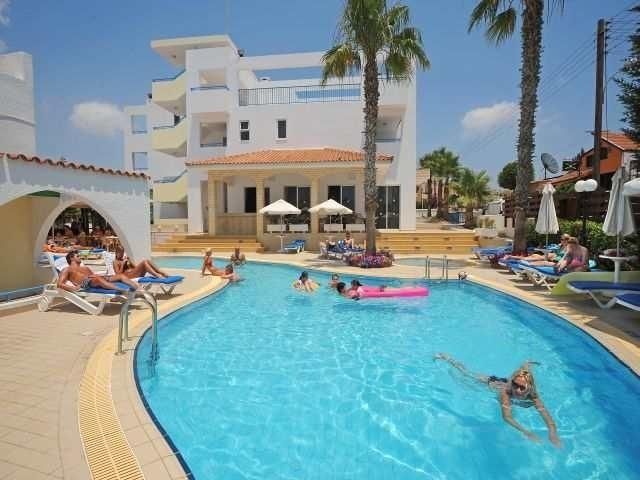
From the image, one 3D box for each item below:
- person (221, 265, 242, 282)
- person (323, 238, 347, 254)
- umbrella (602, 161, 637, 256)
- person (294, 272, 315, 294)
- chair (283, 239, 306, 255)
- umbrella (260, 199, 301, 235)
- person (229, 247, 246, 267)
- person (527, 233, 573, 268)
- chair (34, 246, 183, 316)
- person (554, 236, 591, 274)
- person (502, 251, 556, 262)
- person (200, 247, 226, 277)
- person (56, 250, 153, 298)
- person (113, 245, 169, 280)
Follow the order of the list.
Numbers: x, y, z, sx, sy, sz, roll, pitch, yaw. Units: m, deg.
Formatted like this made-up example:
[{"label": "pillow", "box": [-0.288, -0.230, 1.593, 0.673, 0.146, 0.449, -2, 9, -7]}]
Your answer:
[{"label": "person", "box": [-3.051, 1.191, 17.575, 0.694, 0.555, 1.082, -5, 11, -12]}, {"label": "person", "box": [0.824, 0.344, 22.211, 0.916, 0.433, 1.344, -11, 14, -38]}, {"label": "umbrella", "box": [7.719, -0.677, 13.139, 0.643, 2.368, 0.801, 0, 12, 13]}, {"label": "person", "box": [-0.520, 1.340, 16.297, 0.798, 0.663, 0.373, 1, 12, 19]}, {"label": "chair", "box": [-1.274, 0.386, 25.143, 0.878, 0.611, 1.362, -1, 11, 9]}, {"label": "umbrella", "box": [-2.027, -1.454, 24.250, 1.708, 1.294, 1.831, 7, 12, 32]}, {"label": "person", "box": [-3.349, 0.726, 21.048, 0.770, 1.152, 0.637, -2, 1, -3]}, {"label": "person", "box": [7.116, 0.387, 16.171, 1.818, 1.014, 0.771, -10, 7, -4]}, {"label": "chair", "box": [-5.786, 1.303, 13.626, 2.860, 1.422, 2.125, 1, 3, 4]}, {"label": "person", "box": [7.202, 0.505, 14.554, 1.152, 1.163, 0.723, 7, -4, -32]}, {"label": "person", "box": [7.217, 0.623, 17.169, 1.103, 0.260, 0.626, 1, -1, 36]}, {"label": "person", "box": [-3.670, 0.848, 18.504, 1.265, 1.260, 0.792, -1, 9, -20]}, {"label": "person", "box": [-5.737, 0.880, 13.382, 2.111, 0.908, 1.046, 7, 13, 16]}, {"label": "person", "box": [-5.160, 0.670, 14.667, 1.582, 0.900, 0.641, 0, 19, 11]}]
